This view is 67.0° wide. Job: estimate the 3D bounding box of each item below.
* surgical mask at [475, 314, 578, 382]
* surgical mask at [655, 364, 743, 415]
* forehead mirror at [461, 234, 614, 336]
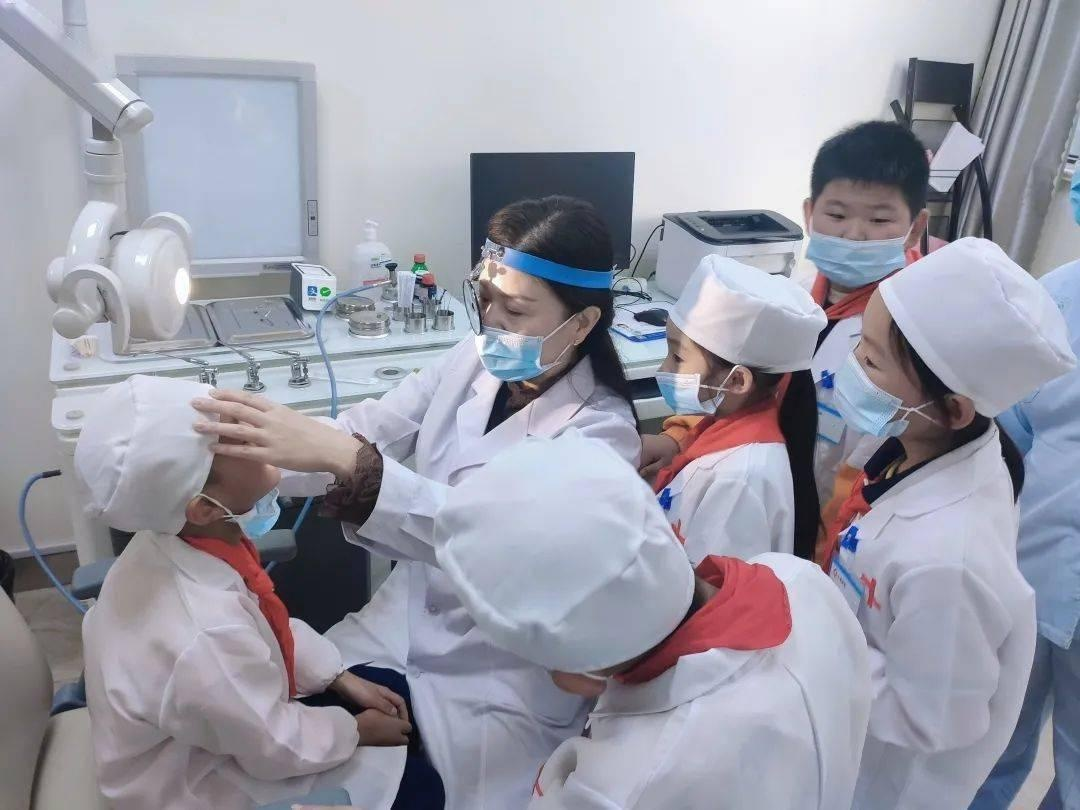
[{"bbox_3d":[-0.048,-0.115,1.839,0.193,0.135,0.183,-11,22,-36],"label":"surgical mask"},{"bbox_3d":[0.342,-0.055,1.791,0.163,0.091,0.147,-1,21,-8],"label":"surgical mask"},{"bbox_3d":[-0.008,-0.316,1.767,0.280,0.213,0.367,7,24,16],"label":"forehead mirror"}]
